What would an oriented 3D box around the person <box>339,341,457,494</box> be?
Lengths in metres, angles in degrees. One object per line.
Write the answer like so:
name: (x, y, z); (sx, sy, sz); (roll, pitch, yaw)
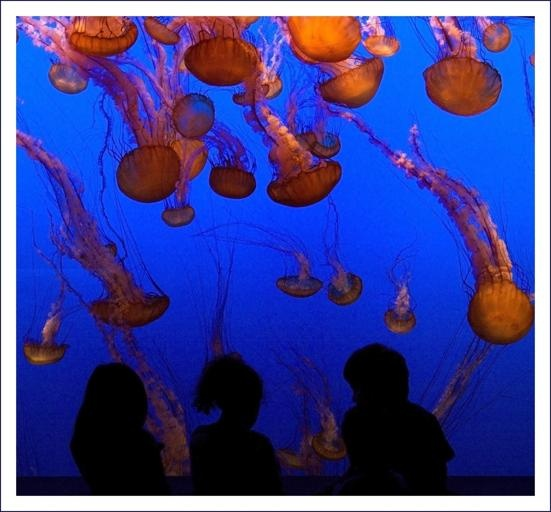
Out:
person: (0.432, 0.534, 2.180); (0.256, 0.779, 0.222); (-3, 10, -22)
